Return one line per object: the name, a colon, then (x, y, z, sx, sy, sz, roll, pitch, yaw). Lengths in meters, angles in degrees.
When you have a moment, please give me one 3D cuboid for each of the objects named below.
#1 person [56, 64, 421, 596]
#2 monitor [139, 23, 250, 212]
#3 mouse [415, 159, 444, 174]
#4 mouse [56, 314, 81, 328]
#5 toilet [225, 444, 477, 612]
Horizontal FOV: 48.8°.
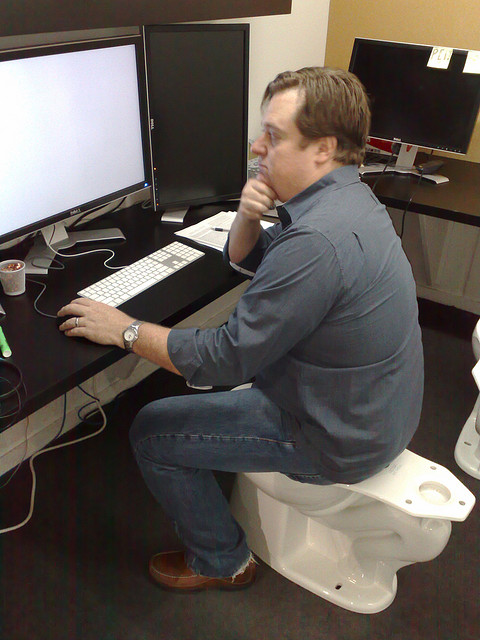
person: (0.043, 0.095, 1.110, 0.648, 1.064, 0.414, -8, 38, -10)
monitor: (-0.129, -0.644, 1.669, 0.391, 0.518, 0.038, -21, 33, -37)
mouse: (0.779, -0.638, 2.182, 0.106, 0.038, 0.055, -16, 37, -21)
mouse: (-0.385, 0.000, 1.168, 0.039, 0.012, 0.044, -14, 40, -18)
toilet: (0.238, 0.504, 1.244, 0.480, 0.335, 0.186, 29, 47, 29)
